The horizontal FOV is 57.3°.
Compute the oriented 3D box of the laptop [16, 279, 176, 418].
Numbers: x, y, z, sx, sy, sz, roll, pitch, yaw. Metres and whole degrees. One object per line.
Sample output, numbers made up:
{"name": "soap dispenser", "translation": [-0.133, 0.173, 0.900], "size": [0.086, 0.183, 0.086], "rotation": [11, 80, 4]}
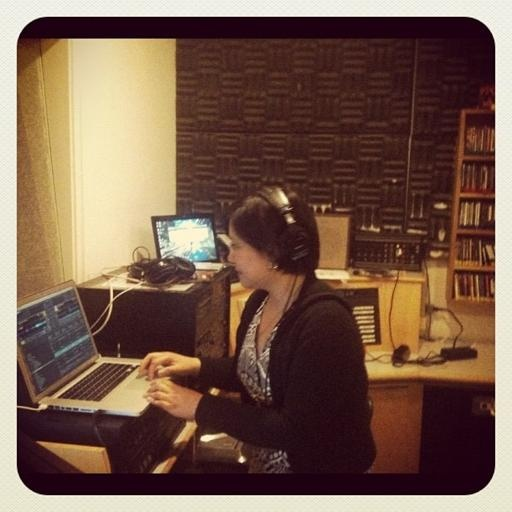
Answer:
{"name": "laptop", "translation": [-0.378, 0.239, 1.116], "size": [0.265, 0.217, 0.279], "rotation": [8, 15, 5]}

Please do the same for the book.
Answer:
{"name": "book", "translation": [0.954, -0.205, 2.033], "size": [0.183, 0.809, 0.138], "rotation": [4, 6, 28]}
